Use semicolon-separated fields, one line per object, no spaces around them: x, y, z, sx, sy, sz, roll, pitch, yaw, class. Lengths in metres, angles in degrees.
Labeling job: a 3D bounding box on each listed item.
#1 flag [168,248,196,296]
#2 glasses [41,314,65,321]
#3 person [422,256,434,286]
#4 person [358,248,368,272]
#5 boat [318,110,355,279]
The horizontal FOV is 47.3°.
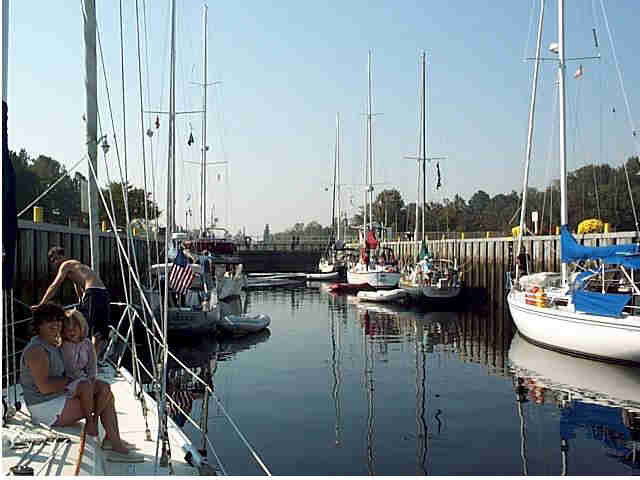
-4.020;0.772;21.375;0.730;0.185;2.121;15;38;-27;flag
-3.876;1.127;10.623;0.131;0.071;0.125;5;4;33;glasses
4.721;1.392;31.970;0.564;0.892;1.920;4;18;6;person
2.265;0.932;36.845;0.295;1.128;0.582;-2;5;-31;person
1.240;-3.937;53.966;1.759;12.535;8.300;-1;1;-2;boat
